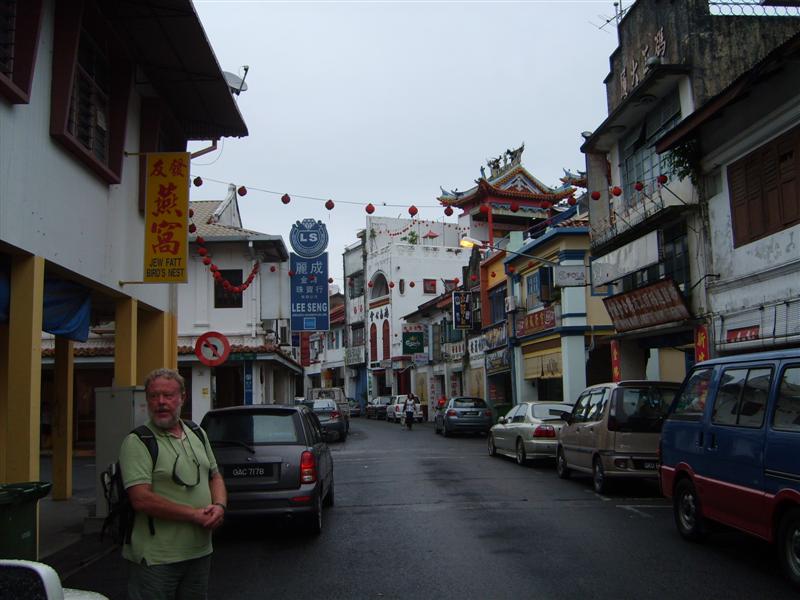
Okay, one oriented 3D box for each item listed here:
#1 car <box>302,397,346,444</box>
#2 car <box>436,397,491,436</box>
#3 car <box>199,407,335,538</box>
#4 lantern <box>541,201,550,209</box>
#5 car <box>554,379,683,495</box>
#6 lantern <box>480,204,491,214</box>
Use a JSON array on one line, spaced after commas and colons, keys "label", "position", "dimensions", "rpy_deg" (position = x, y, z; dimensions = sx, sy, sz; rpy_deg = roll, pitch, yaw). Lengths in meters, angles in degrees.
[{"label": "car", "position": [-2.870, 4.689, 31.405], "dimensions": [1.661, 1.576, 4.307], "rpy_deg": [0, -4, 4]}, {"label": "car", "position": [2.796, 4.832, 32.583], "dimensions": [1.968, 1.594, 1.193], "rpy_deg": [-2, -5, 10]}, {"label": "car", "position": [-1.810, 2.361, 12.067], "dimensions": [1.160, 1.138, 2.398], "rpy_deg": [-1, -4, 3]}, {"label": "lantern", "position": [9.617, -6.245, 51.944], "dimensions": [0.377, 0.529, 1.100], "rpy_deg": [-4, -6, 37]}, {"label": "car", "position": [4.310, 2.671, 15.925], "dimensions": [1.382, 1.569, 2.788], "rpy_deg": [1, -6, -5]}, {"label": "lantern", "position": [5.658, -5.870, 51.426], "dimensions": [0.318, 0.636, 0.870], "rpy_deg": [3, -7, -44]}]
